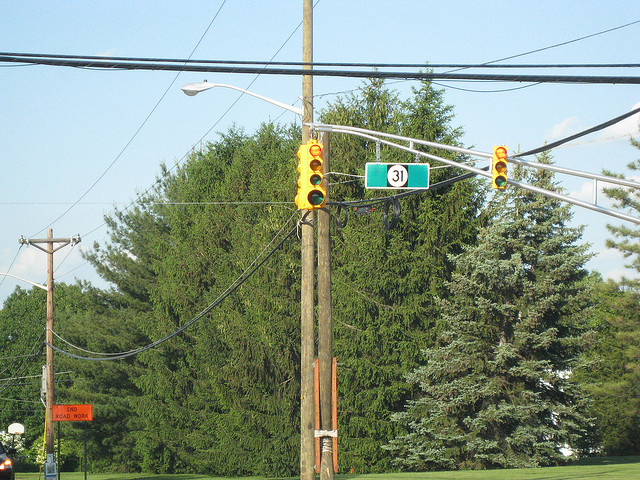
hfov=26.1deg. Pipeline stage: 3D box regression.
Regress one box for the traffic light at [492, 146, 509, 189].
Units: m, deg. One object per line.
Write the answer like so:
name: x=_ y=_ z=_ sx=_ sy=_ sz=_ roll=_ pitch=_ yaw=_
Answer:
traffic light: x=10.099 y=-4.091 z=77.358 sx=0.898 sy=2.187 sz=0.900 roll=-3 pitch=-8 yaw=8
